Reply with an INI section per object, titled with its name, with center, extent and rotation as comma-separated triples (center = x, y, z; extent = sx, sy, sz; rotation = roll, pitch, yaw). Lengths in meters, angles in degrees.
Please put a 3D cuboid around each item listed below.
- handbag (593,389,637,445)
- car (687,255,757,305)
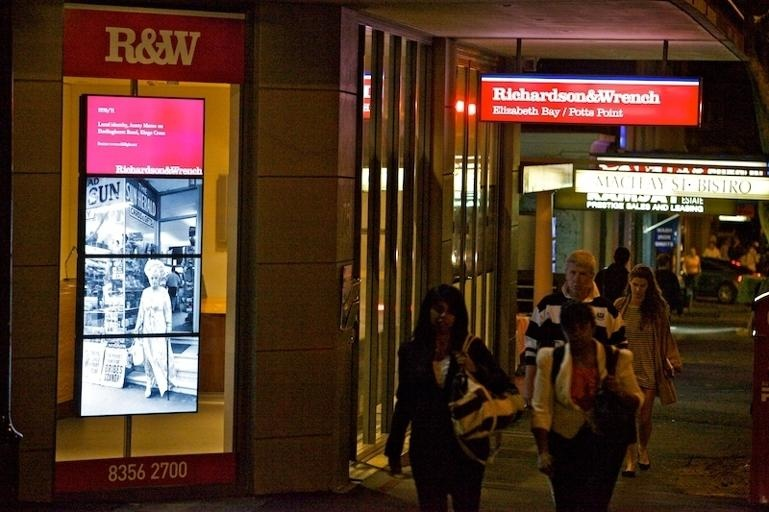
[handbag]
center = 1.657, 1.151, 6.247
extent = 0.349, 0.406, 0.126
rotation = 0, -1, -22
[car]
center = 10.619, 0.797, 28.375
extent = 1.158, 0.907, 2.469
rotation = 1, 5, -29
